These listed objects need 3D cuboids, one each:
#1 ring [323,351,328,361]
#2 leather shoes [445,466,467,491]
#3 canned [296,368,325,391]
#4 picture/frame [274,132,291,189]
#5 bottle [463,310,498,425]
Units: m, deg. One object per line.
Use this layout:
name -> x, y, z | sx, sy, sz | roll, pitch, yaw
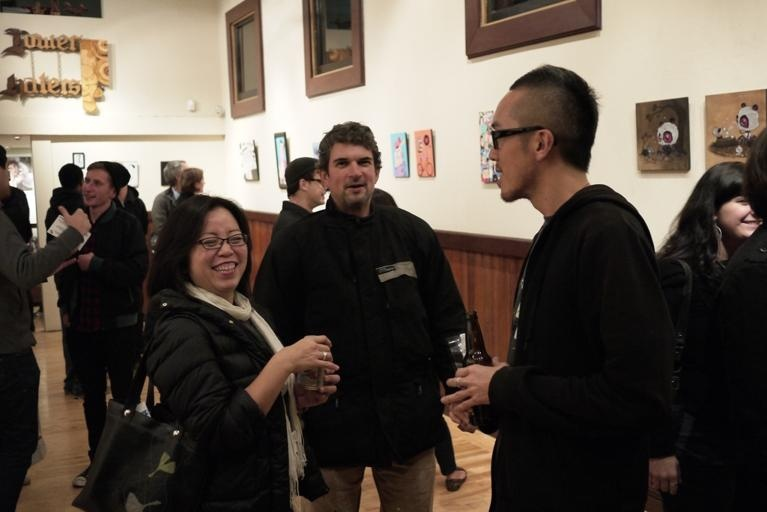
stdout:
ring -> -0.236, 0.413, 2.335 | 0.028, 0.038, 0.013 | -2, 20, -8
leather shoes -> 0.543, 1.669, 4.233 | 0.098, 0.085, 0.195 | 5, 24, 27
canned -> -0.302, 0.501, 2.335 | 0.108, 0.095, 0.087 | 3, -4, -12
picture/frame -> -1.353, -1.284, 7.590 | 0.017, 0.741, 0.637 | -8, 11, -22
bottle -> 0.383, 0.458, 2.276 | 0.115, 0.421, 0.127 | 8, -13, -44
